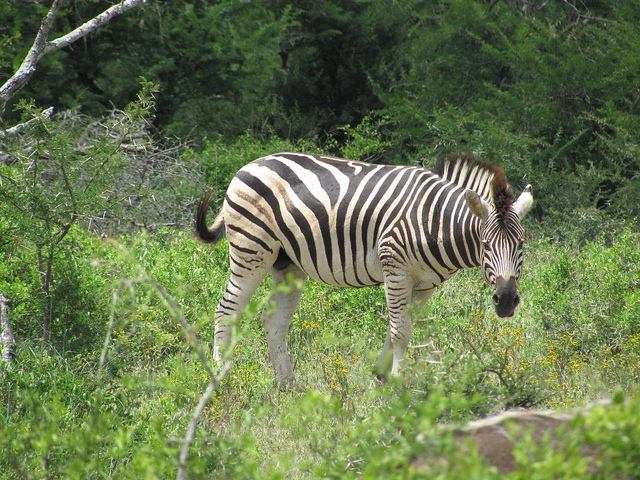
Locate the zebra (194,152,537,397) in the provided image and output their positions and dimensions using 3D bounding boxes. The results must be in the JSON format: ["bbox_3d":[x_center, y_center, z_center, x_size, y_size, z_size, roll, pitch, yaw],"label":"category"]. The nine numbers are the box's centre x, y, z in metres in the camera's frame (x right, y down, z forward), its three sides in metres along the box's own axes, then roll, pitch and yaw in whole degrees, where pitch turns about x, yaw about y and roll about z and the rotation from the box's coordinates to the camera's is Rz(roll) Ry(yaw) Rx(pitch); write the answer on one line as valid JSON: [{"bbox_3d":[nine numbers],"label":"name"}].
[{"bbox_3d":[0.312,0.409,10.596,4.037,3.027,1.143,3,-3,22],"label":"zebra"}]
